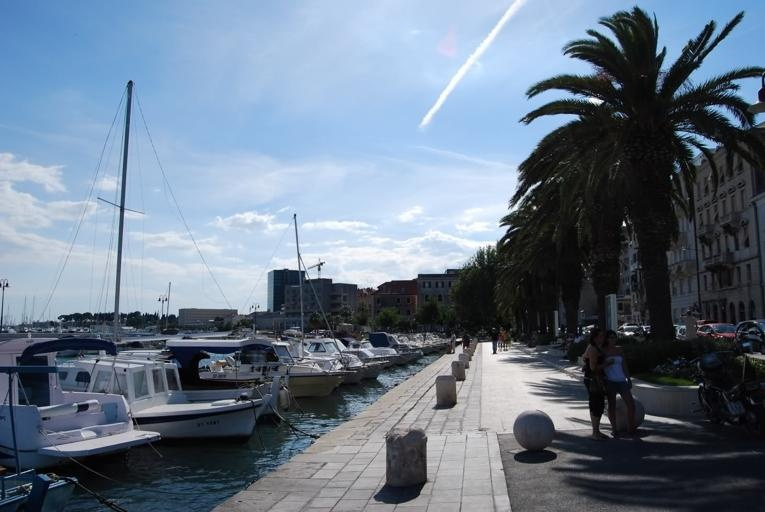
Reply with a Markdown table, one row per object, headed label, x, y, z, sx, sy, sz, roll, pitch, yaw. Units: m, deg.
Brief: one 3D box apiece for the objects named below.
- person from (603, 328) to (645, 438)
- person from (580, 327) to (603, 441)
| label | x | y | z | sx | sy | sz | roll | pitch | yaw |
| --- | --- | --- | --- | --- | --- | --- | --- | --- | --- |
| person | 5.484 | 2.920 | 12.442 | 0.568 | 2.403 | 1.085 | -6 | -11 | 26 |
| person | 4.899 | 2.898 | 12.408 | 0.429 | 2.487 | 0.807 | -5 | -10 | 21 |
